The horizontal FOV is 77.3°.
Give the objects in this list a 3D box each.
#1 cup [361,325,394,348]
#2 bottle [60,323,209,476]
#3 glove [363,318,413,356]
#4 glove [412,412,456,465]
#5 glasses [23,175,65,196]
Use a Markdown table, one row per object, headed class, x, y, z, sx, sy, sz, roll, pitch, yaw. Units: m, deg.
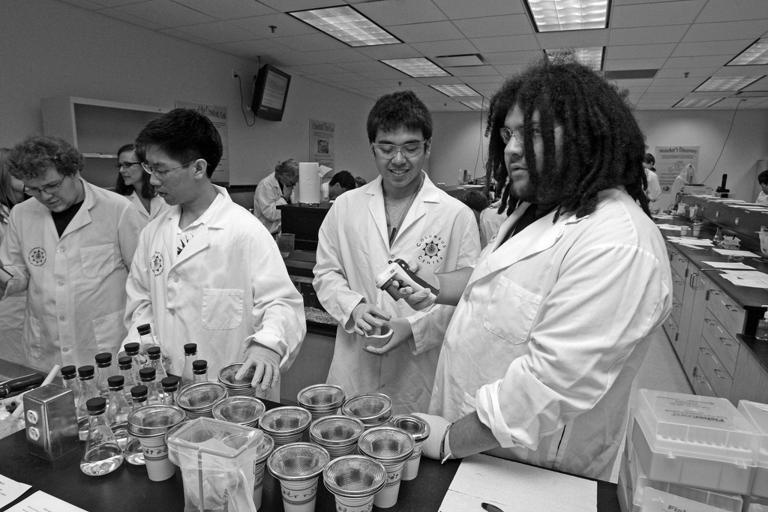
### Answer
| class | x | y | z | sx | sy | sz | roll | pitch | yaw |
| --- | --- | --- | --- | --- | --- | --- | --- | --- | --- |
| cup | -0.025 | 0.367 | 2.162 | 0.092 | 0.052 | 0.119 | 6 | 4 | -37 |
| bottle | -0.851 | 0.509 | 1.670 | 0.246 | 0.276 | 0.631 | -7 | 29 | -9 |
| glove | 0.021 | 0.378 | 2.196 | 0.190 | 0.052 | 0.143 | -25 | 38 | 19 |
| glove | 0.172 | 0.590 | 1.592 | 0.113 | 0.159 | 0.067 | 6 | -5 | 1 |
| glasses | -1.682 | -0.340 | 2.423 | 0.133 | 0.043 | 0.142 | -9 | -19 | -5 |
